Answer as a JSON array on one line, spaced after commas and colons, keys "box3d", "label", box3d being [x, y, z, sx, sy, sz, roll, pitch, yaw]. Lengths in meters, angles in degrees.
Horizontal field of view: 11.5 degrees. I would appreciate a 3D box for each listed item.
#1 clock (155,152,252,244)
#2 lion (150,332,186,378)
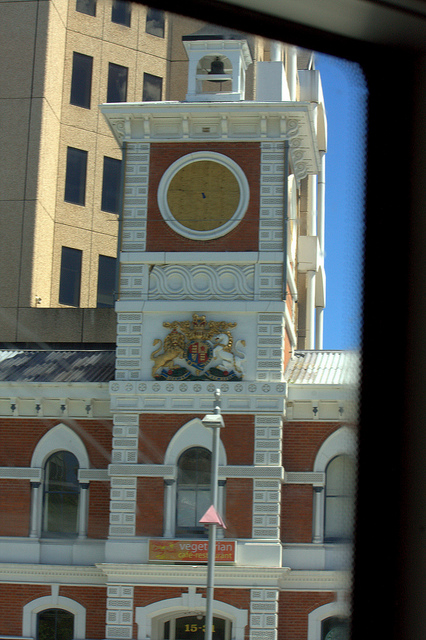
[{"box3d": [-0.211, -2.465, 41.808, 1.807, 1.721, 0.529, -1, 3, 0], "label": "clock"}, {"box3d": [-0.929, 0.704, 41.241, 0.717, 0.878, 0.296, 0, 3, 1], "label": "lion"}]
